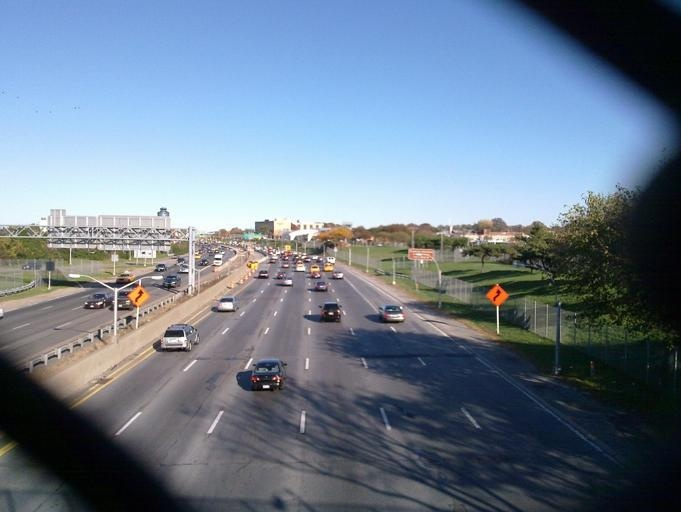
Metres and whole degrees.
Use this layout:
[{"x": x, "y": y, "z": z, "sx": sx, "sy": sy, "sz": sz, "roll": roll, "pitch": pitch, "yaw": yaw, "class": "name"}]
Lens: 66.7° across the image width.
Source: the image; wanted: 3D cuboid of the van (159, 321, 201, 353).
[{"x": -10.567, "y": 5.418, "z": 34.182, "sx": 1.636, "sy": 1.612, "sz": 2.290, "roll": 1, "pitch": 4, "yaw": 8, "class": "van"}]
